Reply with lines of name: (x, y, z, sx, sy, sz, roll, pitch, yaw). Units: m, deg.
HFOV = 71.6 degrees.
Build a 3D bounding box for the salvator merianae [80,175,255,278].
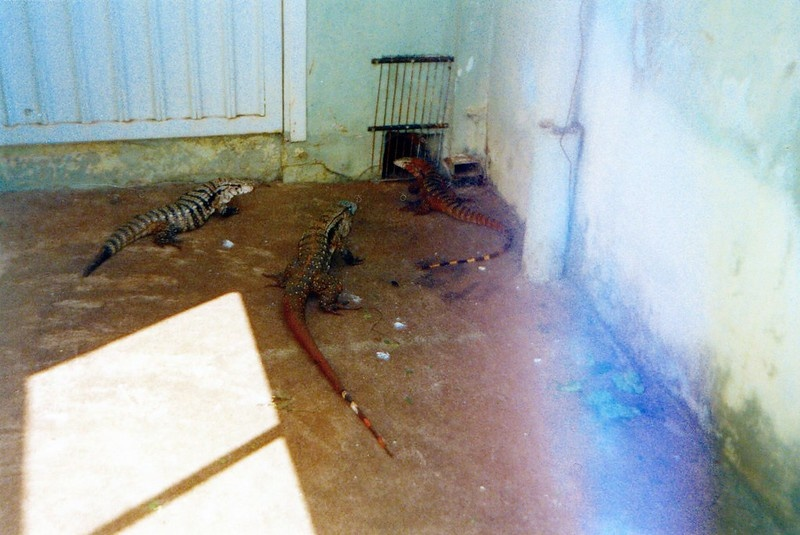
salvator merianae: (-3.656, -0.822, 8.746, 0.992, 0.626, 3.092, 42, 50, 15)
